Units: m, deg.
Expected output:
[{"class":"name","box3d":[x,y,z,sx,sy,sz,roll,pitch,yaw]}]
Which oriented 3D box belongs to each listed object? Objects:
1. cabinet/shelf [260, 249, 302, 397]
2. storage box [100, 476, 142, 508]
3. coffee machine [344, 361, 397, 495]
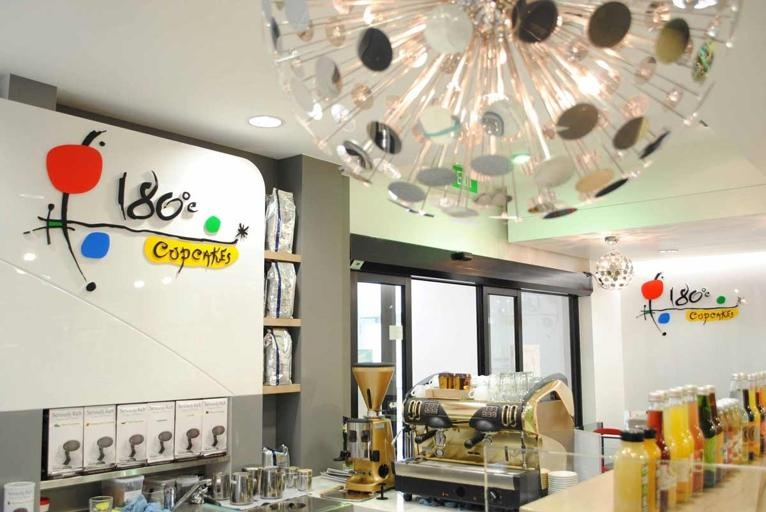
[{"class":"cabinet/shelf","box3d":[-0.720,0.445,3.780,0.332,0.918,0.193,9,-16,-36]},{"class":"storage box","box3d":[-1.434,1.286,2.963,0.161,0.234,0.189,13,-20,-39]},{"class":"coffee machine","box3d":[-0.081,1.075,3.388,0.306,0.766,0.208,0,-13,-2]}]
